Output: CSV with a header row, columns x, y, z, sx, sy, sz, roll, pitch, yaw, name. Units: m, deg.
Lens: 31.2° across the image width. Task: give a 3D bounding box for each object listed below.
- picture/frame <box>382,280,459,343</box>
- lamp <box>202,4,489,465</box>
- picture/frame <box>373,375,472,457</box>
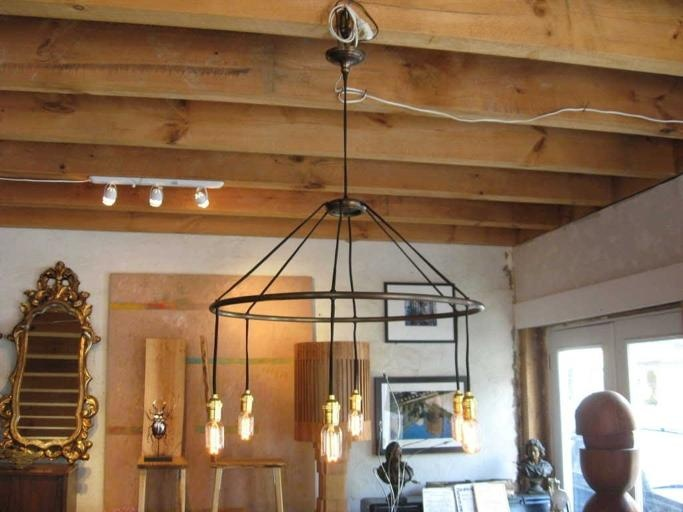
x,y,z,sx,sy,sz,roll,pitch,yaw,name
0.584,0.428,9.247,0.534,0.469,0.022,3,-19,-12,picture/frame
-0.040,-0.121,8.504,1.819,3.146,1.864,-8,-23,21,lamp
0.588,1.233,9.354,0.890,0.672,0.034,2,-18,-11,picture/frame
